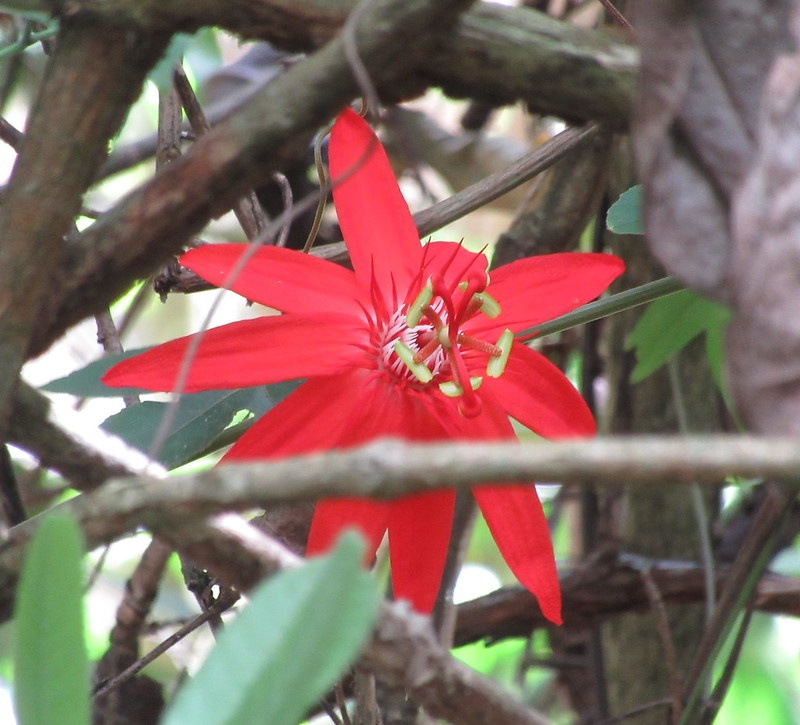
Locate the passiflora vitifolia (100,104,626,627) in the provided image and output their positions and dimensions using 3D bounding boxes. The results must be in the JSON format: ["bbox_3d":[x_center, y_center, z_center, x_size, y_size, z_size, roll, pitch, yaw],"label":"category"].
[{"bbox_3d":[-0.005,-0.017,0.647,0.201,0.215,0.191,7,33,15],"label":"passiflora vitifolia"}]
